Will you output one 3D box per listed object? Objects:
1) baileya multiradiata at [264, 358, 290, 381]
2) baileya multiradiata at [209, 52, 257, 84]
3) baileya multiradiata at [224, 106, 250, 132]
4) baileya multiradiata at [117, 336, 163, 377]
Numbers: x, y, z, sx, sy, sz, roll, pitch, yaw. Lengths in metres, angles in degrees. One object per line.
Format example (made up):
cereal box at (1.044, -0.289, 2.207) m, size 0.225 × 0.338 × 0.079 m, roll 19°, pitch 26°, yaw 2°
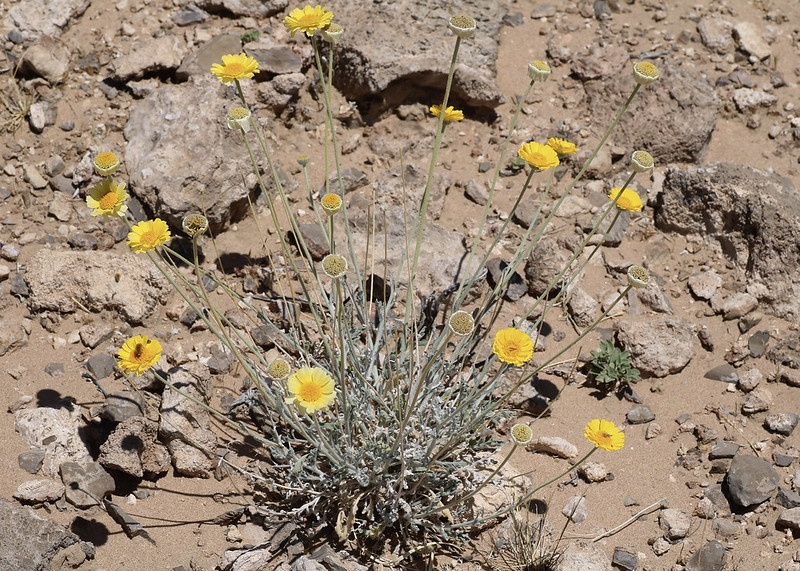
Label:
baileya multiradiata at (-0.865, 0.598, 6.182) m, size 0.151 × 0.056 × 0.150 m, roll -33°, pitch 73°, yaw -15°
baileya multiradiata at (-1.252, -1.564, 6.572) m, size 0.331 × 0.122 × 0.336 m, roll -4°, pitch 54°, yaw -4°
baileya multiradiata at (-1.195, -1.242, 6.509) m, size 0.191 × 0.116 × 0.224 m, roll 3°, pitch 80°, yaw -1°
baileya multiradiata at (-1.904, 0.492, 6.336) m, size 0.262 × 0.129 × 0.291 m, roll 35°, pitch 68°, yaw 10°
